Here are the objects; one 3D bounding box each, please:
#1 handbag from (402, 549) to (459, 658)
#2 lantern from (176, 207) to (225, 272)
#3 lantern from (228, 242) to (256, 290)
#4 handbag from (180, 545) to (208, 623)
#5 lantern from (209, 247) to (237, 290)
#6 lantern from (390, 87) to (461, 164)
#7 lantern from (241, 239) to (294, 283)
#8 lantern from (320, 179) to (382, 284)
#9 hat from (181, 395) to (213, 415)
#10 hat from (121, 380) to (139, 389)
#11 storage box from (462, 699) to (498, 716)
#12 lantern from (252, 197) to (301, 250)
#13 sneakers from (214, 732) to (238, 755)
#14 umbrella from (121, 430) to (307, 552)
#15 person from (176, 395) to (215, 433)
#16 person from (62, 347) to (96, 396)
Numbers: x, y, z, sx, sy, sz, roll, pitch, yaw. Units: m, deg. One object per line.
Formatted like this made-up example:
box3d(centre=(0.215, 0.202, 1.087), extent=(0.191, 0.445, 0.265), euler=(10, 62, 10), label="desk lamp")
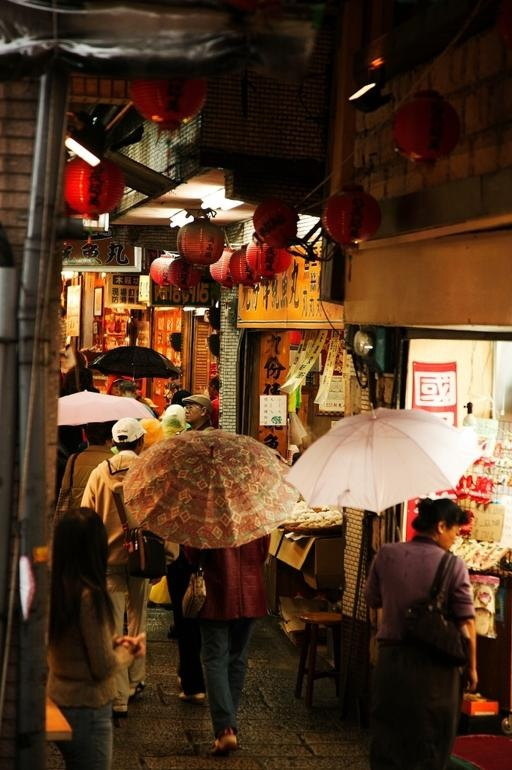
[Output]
box3d(centre=(1.111, 1.360, 4.229), extent=(0.294, 0.628, 0.225), euler=(8, -5, -15), label="handbag")
box3d(centre=(-0.722, -1.839, 8.675), extent=(0.556, 0.423, 0.332), euler=(4, -5, 26), label="lantern")
box3d(centre=(-0.276, -1.617, 9.362), extent=(0.479, 0.553, 0.471), euler=(-3, 5, -14), label="lantern")
box3d(centre=(-0.496, 1.627, 5.589), extent=(0.175, 0.513, 0.348), euler=(7, -5, -9), label="handbag")
box3d(centre=(-0.523, -1.787, 10.649), extent=(0.634, 0.730, 0.625), euler=(0, 6, -3), label="lantern")
box3d(centre=(1.009, -1.520, 4.272), extent=(0.427, 0.481, 0.419), euler=(4, -33, 4), label="lantern")
box3d(centre=(0.140, -1.639, 9.018), extent=(0.509, 0.592, 0.572), euler=(1, -5, 1), label="lantern")
box3d(centre=(0.685, -1.255, 5.457), extent=(0.459, 0.517, 0.450), euler=(2, -7, -3), label="lantern")
box3d(centre=(-0.686, 0.188, 8.059), extent=(0.310, 0.158, 0.223), euler=(27, -10, -12), label="hat")
box3d(centre=(-2.068, -0.019, 11.123), extent=(0.259, 0.172, 0.313), euler=(-1, -2, 23), label="hat")
box3d(centre=(1.976, 2.825, 6.039), extent=(0.207, 0.100, 0.286), euler=(2, 1, -2), label="storage box")
box3d(centre=(0.208, -1.586, 6.997), extent=(0.419, 0.493, 0.275), euler=(-18, 27, 25), label="lantern")
box3d(centre=(-0.249, 2.819, 5.413), extent=(0.127, 0.102, 0.243), euler=(-3, -15, -6), label="sneakers")
box3d(centre=(-0.360, 0.824, 5.230), extent=(1.208, 0.585, 1.162), euler=(-2, 40, -10), label="umbrella")
box3d(centre=(-0.684, 0.310, 7.996), extent=(0.309, 0.422, 0.868), euler=(7, -5, -6), label="person")
box3d(centre=(-2.859, -0.184, 11.019), extent=(0.468, 0.531, 0.914), euler=(8, -5, -16), label="person")
